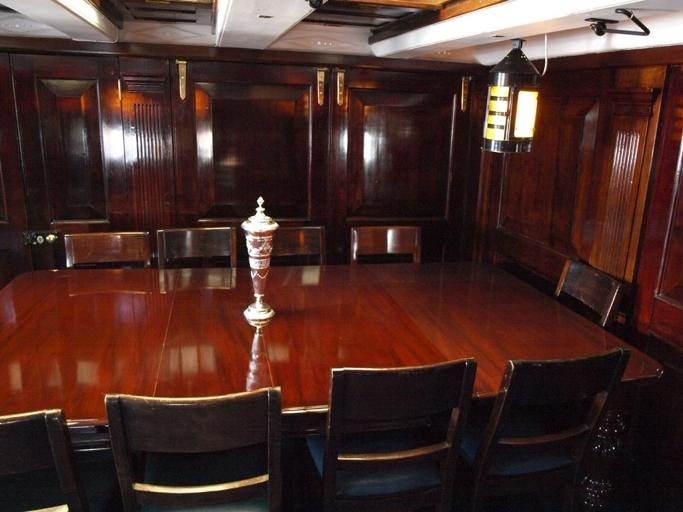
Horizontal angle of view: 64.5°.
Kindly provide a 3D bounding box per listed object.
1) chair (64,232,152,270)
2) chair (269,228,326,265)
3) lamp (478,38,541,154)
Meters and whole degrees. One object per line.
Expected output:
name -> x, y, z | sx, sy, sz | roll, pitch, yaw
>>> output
chair -> -1.368, 0.037, 3.152 | 0.449, 0.266, 0.211 | -4, -33, -18
chair -> -0.267, -0.069, 3.321 | 0.318, 0.213, 0.220 | -3, 12, -6
lamp -> 0.761, -0.718, 2.422 | 0.221, 0.498, 0.176 | -5, 13, -14
